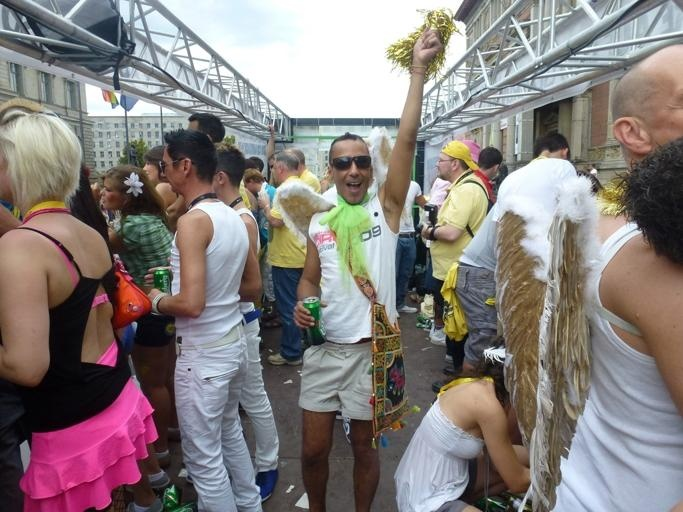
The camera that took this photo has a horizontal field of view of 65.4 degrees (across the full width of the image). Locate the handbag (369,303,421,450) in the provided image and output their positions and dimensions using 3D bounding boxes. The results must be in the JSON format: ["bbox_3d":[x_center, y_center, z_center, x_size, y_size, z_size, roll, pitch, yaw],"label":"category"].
[{"bbox_3d":[0.260,0.749,3.133,0.211,0.974,0.409,7,12,22],"label":"handbag"}]

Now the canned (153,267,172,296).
[{"bbox_3d":[-1.108,0.158,3.297,0.100,0.176,0.102,-23,-26,27],"label":"canned"}]

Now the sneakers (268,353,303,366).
[{"bbox_3d":[-0.618,1.139,5.897,0.368,0.178,0.141,6,-1,-1],"label":"sneakers"}]

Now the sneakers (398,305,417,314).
[{"bbox_3d":[0.993,0.800,8.092,0.317,0.127,0.117,-1,0,4],"label":"sneakers"}]

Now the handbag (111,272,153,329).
[{"bbox_3d":[-1.141,0.231,2.850,0.197,0.260,0.187,3,11,5],"label":"handbag"}]

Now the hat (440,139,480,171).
[{"bbox_3d":[1.314,-1.176,6.018,0.473,0.242,0.297,25,13,-10],"label":"hat"}]

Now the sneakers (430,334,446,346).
[{"bbox_3d":[1.182,1.030,6.552,0.214,0.095,0.072,14,14,-20],"label":"sneakers"}]
